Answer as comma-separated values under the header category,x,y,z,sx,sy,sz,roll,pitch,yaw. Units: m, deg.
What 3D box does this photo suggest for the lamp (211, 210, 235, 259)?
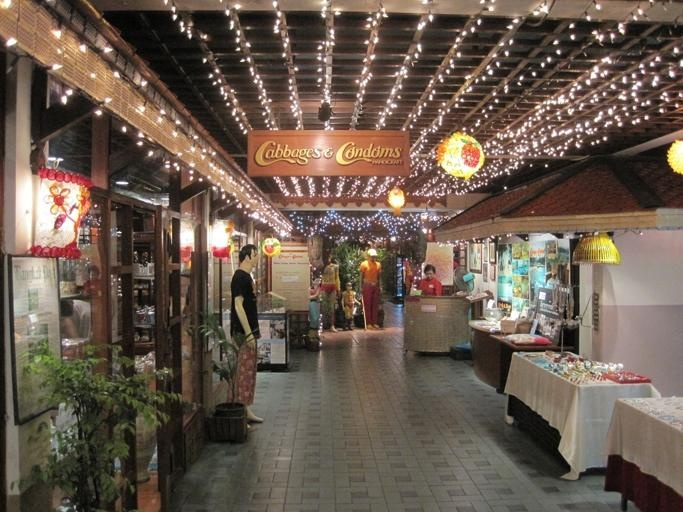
category,x,y,z,sx,sy,sz,roll,pitch,yaw
lamp,-1.765,-0.242,7.618,0.292,0.602,0.912,0,2,-14

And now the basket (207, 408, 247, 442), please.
category,x,y,z,sx,sy,sz,roll,pitch,yaw
basket,-1.405,2.090,6.481,0.477,0.385,0.329,0,2,6

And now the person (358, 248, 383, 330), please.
category,x,y,z,sx,sy,sz,roll,pitch,yaw
person,0.852,1.003,15.055,0.564,2.347,1.411,0,1,3

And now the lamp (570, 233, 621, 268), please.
category,x,y,z,sx,sy,sz,roll,pitch,yaw
lamp,3.281,-0.078,6.684,0.478,0.390,0.395,0,2,-15

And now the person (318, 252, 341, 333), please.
category,x,y,z,sx,sy,sz,roll,pitch,yaw
person,-0.333,1.089,14.466,0.470,2.200,1.426,0,1,-2

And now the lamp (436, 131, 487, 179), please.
category,x,y,z,sx,sy,sz,roll,pitch,yaw
lamp,1.495,-1.166,6.428,0.548,0.719,0.416,-2,27,17

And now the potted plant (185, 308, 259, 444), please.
category,x,y,z,sx,sy,sz,roll,pitch,yaw
potted plant,-1.541,1.470,6.830,0.760,1.596,1.224,0,1,-9

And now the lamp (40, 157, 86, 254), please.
category,x,y,z,sx,sy,sz,roll,pitch,yaw
lamp,-1.917,-0.283,3.547,0.180,0.606,0.360,1,2,40

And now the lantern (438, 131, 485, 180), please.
category,x,y,z,sx,sy,sz,roll,pitch,yaw
lantern,1.431,-1.222,6.253,0.412,0.525,0.403,0,2,-23
